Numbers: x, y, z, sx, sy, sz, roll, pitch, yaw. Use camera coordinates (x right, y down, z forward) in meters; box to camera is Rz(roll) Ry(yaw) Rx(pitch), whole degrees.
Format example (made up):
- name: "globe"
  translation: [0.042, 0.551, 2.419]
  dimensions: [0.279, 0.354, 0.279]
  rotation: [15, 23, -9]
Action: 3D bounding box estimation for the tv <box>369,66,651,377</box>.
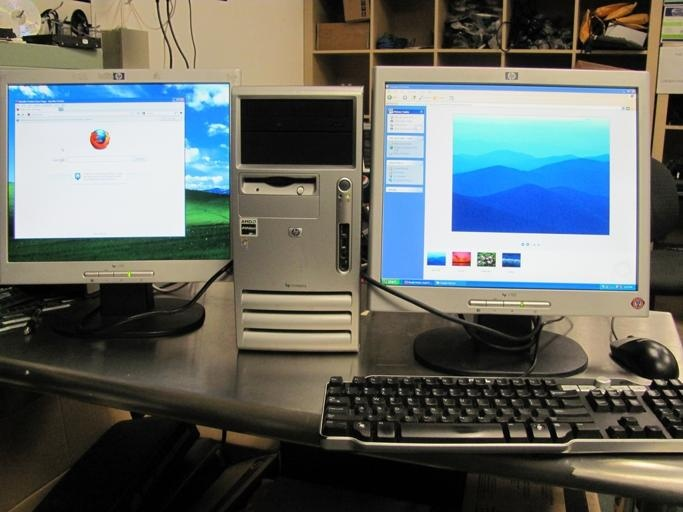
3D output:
- name: "tv"
  translation: [0.365, -0.093, 1.330]
  dimensions: [0.677, 0.723, 0.261]
  rotation: [0, 3, 2]
